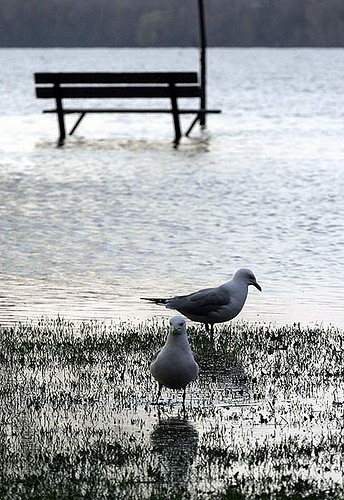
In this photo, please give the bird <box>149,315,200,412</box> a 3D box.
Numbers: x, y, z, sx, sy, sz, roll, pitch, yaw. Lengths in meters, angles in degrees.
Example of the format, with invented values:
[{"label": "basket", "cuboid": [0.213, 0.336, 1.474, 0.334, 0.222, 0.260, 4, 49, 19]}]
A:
[{"label": "bird", "cuboid": [0.010, 0.896, 9.320, 0.398, 0.999, 1.076, 3, 12, -2]}]
